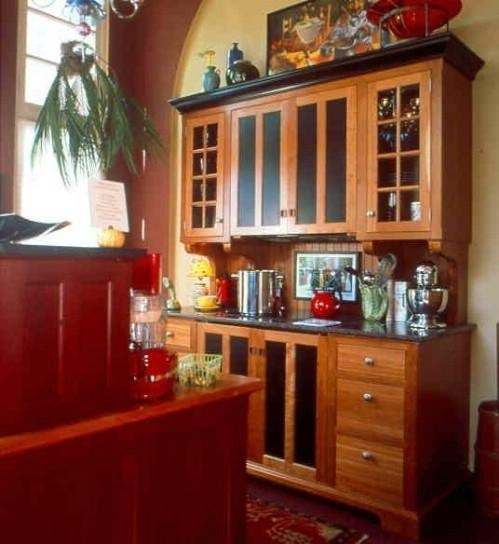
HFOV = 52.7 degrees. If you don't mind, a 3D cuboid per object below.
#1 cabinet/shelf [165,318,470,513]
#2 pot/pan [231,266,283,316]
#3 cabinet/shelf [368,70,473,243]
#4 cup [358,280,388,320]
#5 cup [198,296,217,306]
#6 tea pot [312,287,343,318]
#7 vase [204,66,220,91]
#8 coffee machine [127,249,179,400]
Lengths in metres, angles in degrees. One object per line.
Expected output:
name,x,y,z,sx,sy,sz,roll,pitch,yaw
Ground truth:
cabinet/shelf,0.405,0.670,2.674,1.374,0.805,0.550,1,1,28
pot/pan,0.035,0.126,3.165,0.253,0.284,0.268,-1,-5,14
cabinet/shelf,0.851,-0.602,2.629,0.447,0.908,0.412,4,9,39
cup,0.680,0.142,2.773,0.186,0.251,0.166,0,1,33
cup,-0.267,0.187,3.198,0.069,0.040,0.071,0,1,0
tea pot,0.468,0.185,2.915,0.155,0.169,0.262,1,2,41
vase,-0.268,-1.330,3.467,0.111,0.183,0.101,0,1,-19
coffee machine,-0.258,0.133,1.367,0.123,0.363,0.328,0,1,-11
